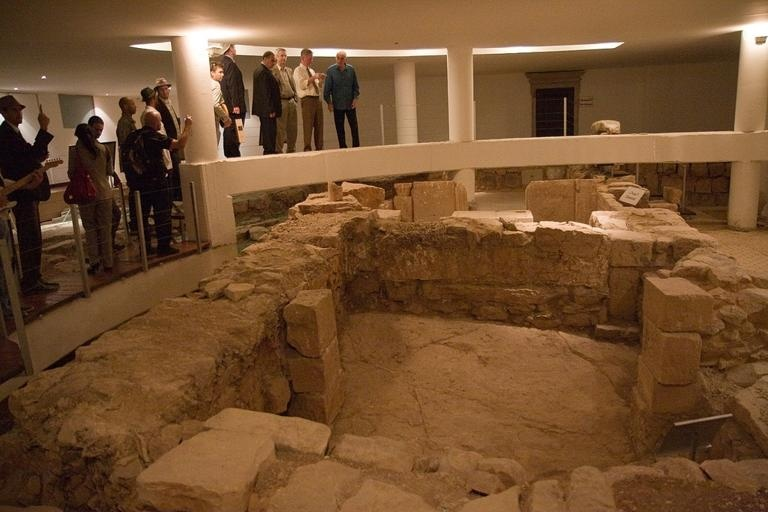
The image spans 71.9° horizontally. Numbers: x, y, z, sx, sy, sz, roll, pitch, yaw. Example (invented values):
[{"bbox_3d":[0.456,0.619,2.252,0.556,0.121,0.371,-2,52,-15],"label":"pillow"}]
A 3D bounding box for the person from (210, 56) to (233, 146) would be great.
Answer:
[{"bbox_3d":[-2.706,-2.585,8.872,0.276,1.280,0.956,-6,16,-16],"label":"person"}]

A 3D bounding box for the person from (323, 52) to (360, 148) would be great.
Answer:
[{"bbox_3d":[-0.831,-3.105,10.543,0.640,1.888,1.301,-2,15,-4],"label":"person"}]

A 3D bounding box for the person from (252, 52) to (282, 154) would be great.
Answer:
[{"bbox_3d":[-2.028,-2.659,9.220,0.516,1.749,0.578,-5,16,-12],"label":"person"}]

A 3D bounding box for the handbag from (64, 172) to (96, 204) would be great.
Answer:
[{"bbox_3d":[-3.483,-0.780,6.100,0.330,0.359,0.318,-11,18,-33],"label":"handbag"}]
